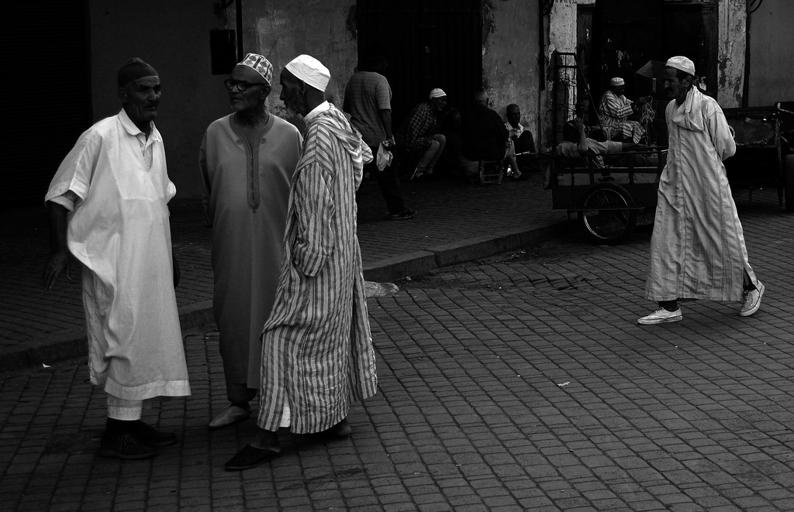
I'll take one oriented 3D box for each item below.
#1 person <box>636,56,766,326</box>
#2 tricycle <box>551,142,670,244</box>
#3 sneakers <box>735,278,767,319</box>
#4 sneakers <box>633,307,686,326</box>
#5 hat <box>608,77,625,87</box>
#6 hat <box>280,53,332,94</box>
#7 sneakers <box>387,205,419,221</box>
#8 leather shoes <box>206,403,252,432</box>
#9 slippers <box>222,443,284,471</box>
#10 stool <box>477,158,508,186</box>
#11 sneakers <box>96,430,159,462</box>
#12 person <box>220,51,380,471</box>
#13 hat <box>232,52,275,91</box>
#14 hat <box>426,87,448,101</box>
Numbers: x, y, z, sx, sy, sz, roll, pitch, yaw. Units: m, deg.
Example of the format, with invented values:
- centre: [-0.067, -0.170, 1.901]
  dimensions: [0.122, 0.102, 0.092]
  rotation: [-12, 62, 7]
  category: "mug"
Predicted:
- centre: [2.885, -0.714, 7.751]
  dimensions: [0.908, 2.293, 0.702]
  rotation: [0, 18, 11]
  category: "person"
- centre: [3.043, -0.854, 11.374]
  dimensions: [1.714, 1.097, 1.159]
  rotation: [-1, 11, 8]
  category: "tricycle"
- centre: [3.524, 0.405, 8.050]
  dimensions: [0.187, 0.434, 0.174]
  rotation: [37, -12, -34]
  category: "sneakers"
- centre: [2.577, 0.612, 7.902]
  dimensions: [0.494, 0.155, 0.164]
  rotation: [0, -1, -6]
  category: "sneakers"
- centre: [3.746, -2.929, 13.708]
  dimensions: [0.333, 0.166, 0.297]
  rotation: [0, 16, 6]
  category: "hat"
- centre: [-0.592, -1.275, 5.495]
  dimensions: [0.308, 0.169, 0.222]
  rotation: [13, 20, -49]
  category: "hat"
- centre: [0.076, -0.622, 12.128]
  dimensions: [0.439, 0.162, 0.170]
  rotation: [-5, 11, -4]
  category: "sneakers"
- centre: [-1.251, 1.200, 6.036]
  dimensions: [0.323, 0.103, 0.153]
  rotation: [-10, 19, -19]
  category: "leather shoes"
- centre: [-0.996, 1.376, 5.532]
  dimensions: [0.363, 0.096, 0.147]
  rotation: [-10, 10, -32]
  category: "slippers"
- centre: [1.795, -1.572, 15.193]
  dimensions: [0.528, 0.479, 0.486]
  rotation: [-1, 5, 10]
  category: "stool"
- centre: [-1.899, 1.324, 5.630]
  dimensions: [0.450, 0.170, 0.174]
  rotation: [3, 7, 1]
  category: "sneakers"
- centre: [-0.535, 0.108, 5.425]
  dimensions: [0.536, 2.124, 0.980]
  rotation: [7, 20, 31]
  category: "person"
- centre: [-1.127, -1.288, 5.714]
  dimensions: [0.374, 0.214, 0.283]
  rotation: [-10, 6, -28]
  category: "hat"
- centre: [0.675, -3.023, 15.135]
  dimensions: [0.435, 0.230, 0.301]
  rotation: [-2, 10, 26]
  category: "hat"
